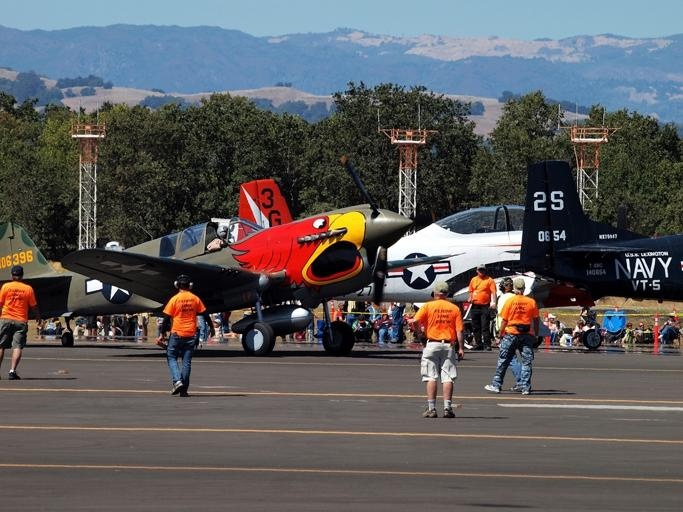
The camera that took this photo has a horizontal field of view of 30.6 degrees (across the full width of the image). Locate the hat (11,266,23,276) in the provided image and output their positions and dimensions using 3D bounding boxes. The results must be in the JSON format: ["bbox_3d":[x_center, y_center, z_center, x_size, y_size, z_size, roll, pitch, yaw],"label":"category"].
[{"bbox_3d":[-6.943,0.323,26.743,0.287,0.192,0.378,2,14,-1],"label":"hat"}]

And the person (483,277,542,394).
[{"bbox_3d":[3.385,1.752,24.600,0.927,1.925,0.571,2,10,6],"label":"person"}]

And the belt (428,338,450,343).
[{"bbox_3d":[1.766,1.507,22.434,0.385,0.068,0.078,1,10,-3],"label":"belt"}]

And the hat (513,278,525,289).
[{"bbox_3d":[3.491,0.515,24.681,0.181,0.211,0.232,7,38,12],"label":"hat"}]

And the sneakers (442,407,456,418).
[{"bbox_3d":[1.937,2.773,22.400,0.205,0.208,0.381,2,10,5],"label":"sneakers"}]

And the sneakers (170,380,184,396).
[{"bbox_3d":[-3.166,2.548,23.935,0.151,0.159,0.334,5,-33,-17],"label":"sneakers"}]

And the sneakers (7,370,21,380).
[{"bbox_3d":[-6.716,2.437,25.649,0.124,0.127,0.335,2,0,13],"label":"sneakers"}]

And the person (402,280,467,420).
[{"bbox_3d":[1.752,1.719,22.540,0.860,2.382,1.014,2,10,5],"label":"person"}]

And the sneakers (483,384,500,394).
[{"bbox_3d":[2.950,2.616,24.659,0.305,0.148,0.130,15,9,22],"label":"sneakers"}]

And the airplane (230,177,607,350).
[{"bbox_3d":[2.217,0.247,35.316,7.577,3.025,7.877,0,5,2],"label":"airplane"}]
